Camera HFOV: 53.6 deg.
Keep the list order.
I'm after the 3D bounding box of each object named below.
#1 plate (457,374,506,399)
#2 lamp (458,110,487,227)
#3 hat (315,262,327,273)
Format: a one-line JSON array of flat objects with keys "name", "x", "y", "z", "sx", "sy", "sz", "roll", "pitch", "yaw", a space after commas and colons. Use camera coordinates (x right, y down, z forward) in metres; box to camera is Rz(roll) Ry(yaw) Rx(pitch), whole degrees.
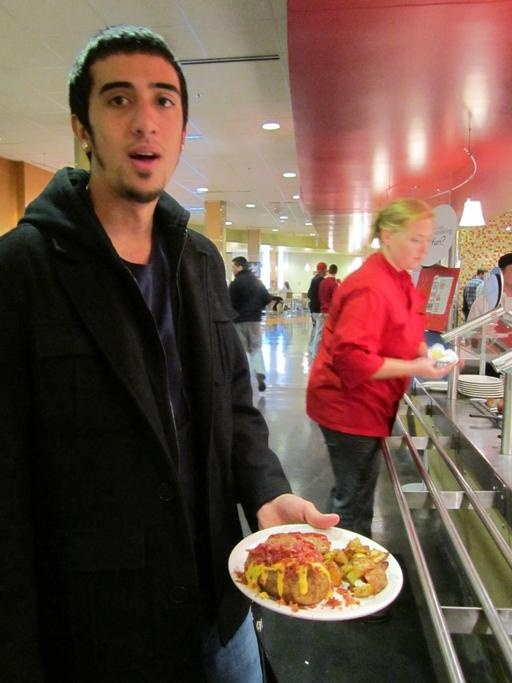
[{"name": "plate", "x": 1.091, "y": 0.222, "z": 2.500, "sx": 0.181, "sy": 0.074, "sz": 0.178, "roll": -1, "pitch": 5, "yaw": -17}, {"name": "lamp", "x": 2.282, "y": -1.831, "z": 5.351, "sx": 0.273, "sy": 1.200, "sz": 0.275, "roll": -8, "pitch": -15, "yaw": 26}, {"name": "hat", "x": 1.395, "y": -1.554, "z": 10.940, "sx": 0.251, "sy": 0.253, "sz": 0.394, "roll": -1, "pitch": 8, "yaw": 12}]
